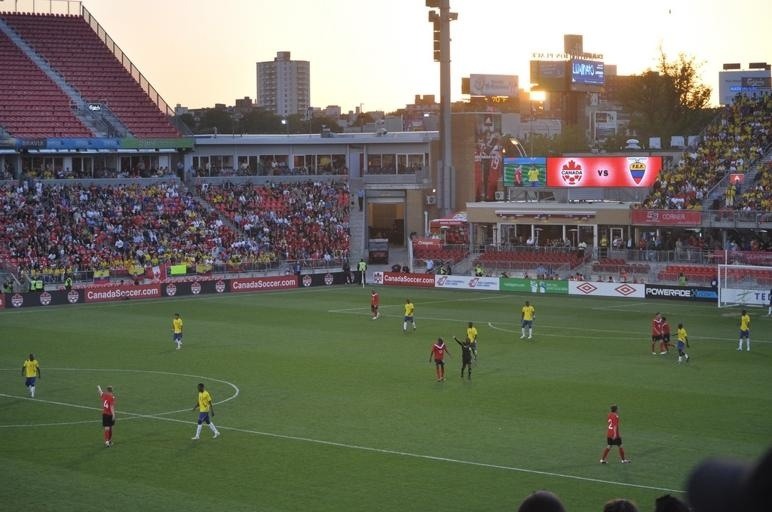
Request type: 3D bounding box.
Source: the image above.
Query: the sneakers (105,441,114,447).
[{"bbox_3d":[-17.140,11.632,79.468,0.202,0.257,0.597,2,7,1],"label":"sneakers"}]

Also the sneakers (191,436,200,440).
[{"bbox_3d":[-11.888,11.350,80.111,0.419,0.296,0.166,2,0,16],"label":"sneakers"}]

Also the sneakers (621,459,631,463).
[{"bbox_3d":[14.482,12.332,77.086,0.483,0.215,0.212,0,5,36],"label":"sneakers"}]
